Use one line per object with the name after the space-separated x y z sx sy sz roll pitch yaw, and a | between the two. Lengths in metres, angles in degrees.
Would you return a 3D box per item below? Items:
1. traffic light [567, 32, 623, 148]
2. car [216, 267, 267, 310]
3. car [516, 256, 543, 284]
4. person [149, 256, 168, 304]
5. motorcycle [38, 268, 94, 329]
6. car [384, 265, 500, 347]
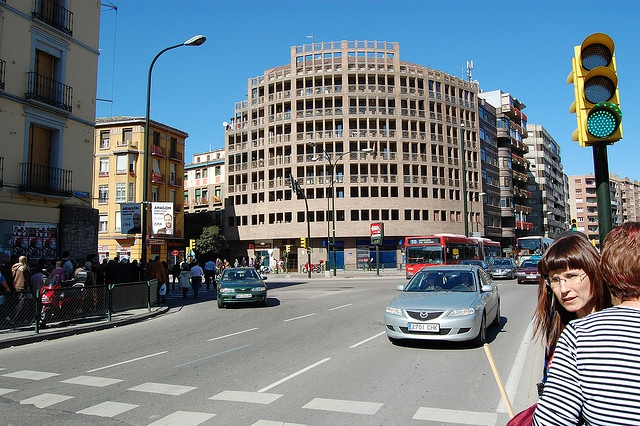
4.038 -1.814 7.628 0.644 1.628 0.401 -6 -8 30 | traffic light
-3.169 2.955 20.869 1.851 1.609 1.907 0 -8 -14 | car
12.793 3.317 31.271 1.315 1.201 3.561 -4 1 24 | car
-7.299 2.853 23.099 0.627 1.960 0.502 6 16 5 | person
-8.128 2.474 16.428 0.606 1.236 1.842 -2 4 25 | motorcycle
3.160 2.258 12.943 1.989 2.040 3.181 -10 -11 42 | car
